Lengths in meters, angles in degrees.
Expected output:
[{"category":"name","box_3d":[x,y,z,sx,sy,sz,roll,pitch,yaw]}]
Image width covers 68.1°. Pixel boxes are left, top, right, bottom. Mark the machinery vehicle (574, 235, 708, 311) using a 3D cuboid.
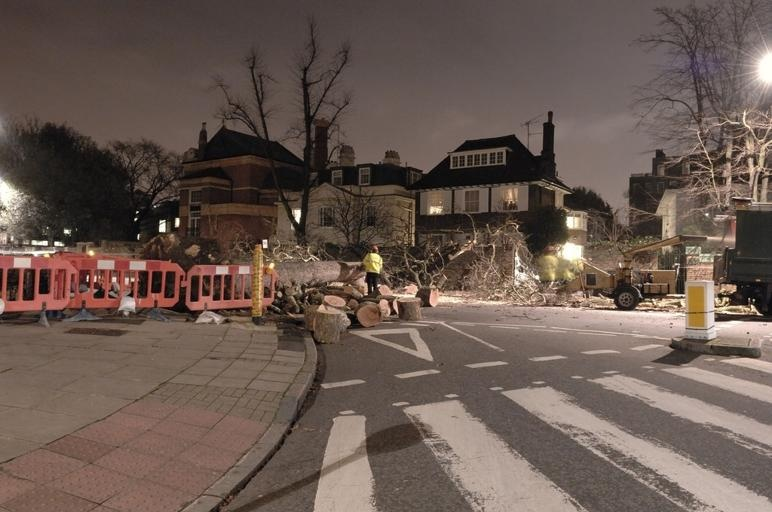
[{"category":"machinery vehicle","box_3d":[8.996,0.823,21.004,3.042,1.826,1.655,0,8,20]}]
